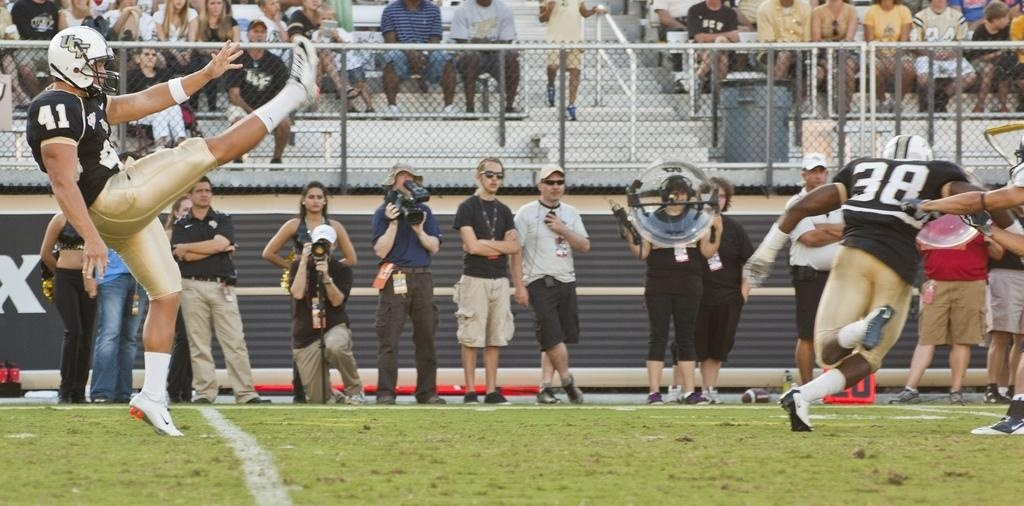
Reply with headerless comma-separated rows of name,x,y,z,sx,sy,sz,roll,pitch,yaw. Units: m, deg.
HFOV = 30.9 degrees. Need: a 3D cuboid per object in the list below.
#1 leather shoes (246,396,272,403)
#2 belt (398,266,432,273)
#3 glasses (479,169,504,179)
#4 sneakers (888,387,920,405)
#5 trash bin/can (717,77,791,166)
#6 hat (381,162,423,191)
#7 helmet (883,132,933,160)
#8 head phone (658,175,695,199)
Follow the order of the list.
leather shoes,-3.706,2.134,27.088,0.374,0.114,0.128,-1,-3,1
belt,-1.419,0.220,26.918,0.480,0.097,0.085,-3,8,-25
glasses,-0.275,-1.177,27.155,0.327,0.111,0.111,-3,8,-25
sneakers,5.754,2.099,27.405,0.584,0.194,0.189,-2,-2,-2
trash bin/can,3.690,-2.066,29.313,1.446,1.256,1.324,-3,11,-6
hat,-1.626,-1.158,27.397,0.573,0.226,0.656,0,6,-1
helmet,5.264,-1.423,24.458,0.549,0.413,0.380,8,16,17
head phone,2.380,-0.962,26.530,0.373,0.257,0.432,-3,-6,3
